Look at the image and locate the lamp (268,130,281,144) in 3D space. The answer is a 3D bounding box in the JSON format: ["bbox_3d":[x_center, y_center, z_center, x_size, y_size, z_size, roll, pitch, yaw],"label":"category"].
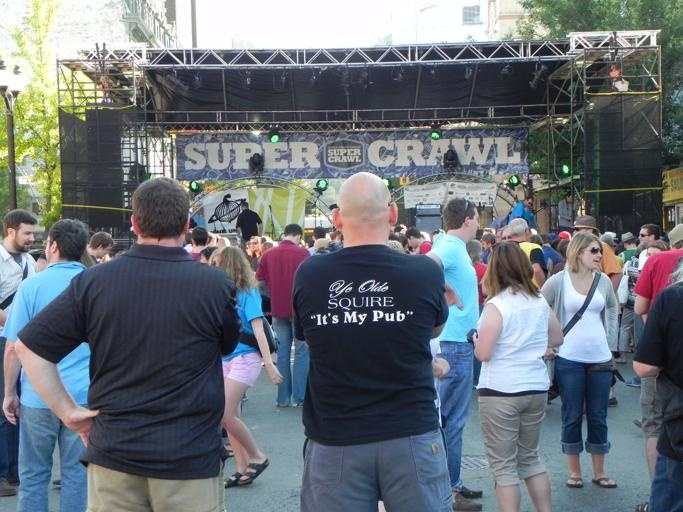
[{"bbox_3d":[-1.712,-3.055,24.518,0.327,0.321,0.281,-1,0,-5],"label":"lamp"}]

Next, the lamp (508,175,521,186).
[{"bbox_3d":[4.375,-1.883,24.259,0.241,0.293,0.236,-7,-4,30],"label":"lamp"}]

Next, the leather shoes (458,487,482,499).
[{"bbox_3d":[1.480,2.724,11.012,0.334,0.127,0.115,-2,4,9],"label":"leather shoes"}]

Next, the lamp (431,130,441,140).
[{"bbox_3d":[2.421,-3.093,24.411,0.257,0.219,0.157,-2,0,5],"label":"lamp"}]

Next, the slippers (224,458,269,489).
[{"bbox_3d":[-1.114,2.578,11.227,0.234,0.149,0.550,-33,-4,37],"label":"slippers"}]

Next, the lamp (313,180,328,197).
[{"bbox_3d":[-0.558,-1.831,25.826,0.309,0.419,0.411,-5,-1,-1],"label":"lamp"}]

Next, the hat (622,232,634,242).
[{"bbox_3d":[5.161,-0.360,17.293,0.215,0.095,0.248,-12,-14,-1],"label":"hat"}]
